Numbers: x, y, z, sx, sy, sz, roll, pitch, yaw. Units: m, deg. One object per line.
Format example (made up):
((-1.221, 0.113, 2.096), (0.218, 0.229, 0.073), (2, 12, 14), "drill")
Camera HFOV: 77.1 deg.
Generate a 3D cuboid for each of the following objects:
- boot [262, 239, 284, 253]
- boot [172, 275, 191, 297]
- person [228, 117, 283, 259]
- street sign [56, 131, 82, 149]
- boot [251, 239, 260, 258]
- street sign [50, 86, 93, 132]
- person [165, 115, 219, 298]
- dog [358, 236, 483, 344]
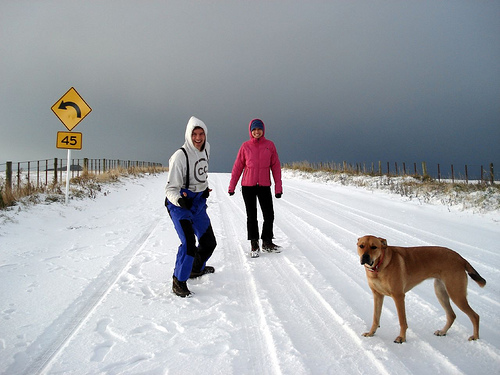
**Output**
((0.492, 1.288, 6.797), (0.480, 0.410, 0.197), (-3, 0, 6), "boot")
((-1.096, 1.566, 4.886), (0.330, 0.287, 0.152), (-2, -4, 43), "boot")
((0.125, -0.010, 6.904), (1.116, 2.876, 1.199), (1, 9, 6), "person")
((-6.300, -1.579, 10.865), (0.701, 0.586, 0.756), (8, 13, 37), "street sign")
((0.104, 1.285, 6.509), (0.159, 0.285, 0.349), (0, 10, -2), "boot")
((-6.277, -2.675, 10.953), (1.094, 1.506, 0.240), (-1, 9, -3), "street sign")
((-1.012, 0.279, 5.187), (0.578, 2.783, 1.057), (3, 9, 20), "person")
((2.141, 1.301, 4.094), (1.341, 1.397, 0.645), (-3, -2, 14), "dog")
